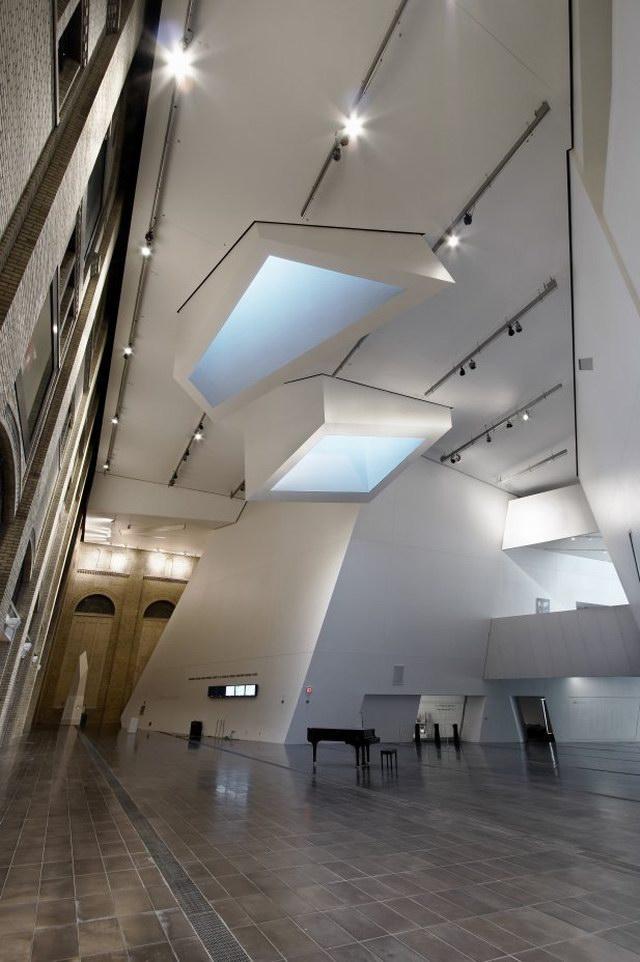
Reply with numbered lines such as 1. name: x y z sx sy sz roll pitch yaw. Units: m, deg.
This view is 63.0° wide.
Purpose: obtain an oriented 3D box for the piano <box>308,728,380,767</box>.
1. piano: 0.636 6.347 12.625 1.422 0.925 3.948 0 -20 5
